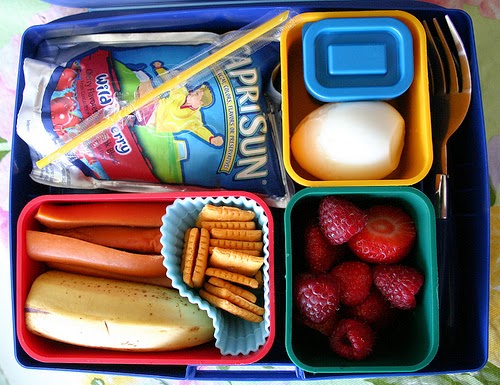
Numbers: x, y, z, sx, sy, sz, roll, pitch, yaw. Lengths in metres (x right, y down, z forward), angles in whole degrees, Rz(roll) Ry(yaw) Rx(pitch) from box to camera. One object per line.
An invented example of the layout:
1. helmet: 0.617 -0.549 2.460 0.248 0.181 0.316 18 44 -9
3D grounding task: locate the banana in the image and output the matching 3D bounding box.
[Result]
1. banana: -0.376 0.357 1.431 0.539 0.130 0.188 5 69 8

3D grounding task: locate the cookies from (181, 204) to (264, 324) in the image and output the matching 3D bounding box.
1. cookies: -0.067 0.189 1.407 0.239 0.128 0.346 6 88 -5

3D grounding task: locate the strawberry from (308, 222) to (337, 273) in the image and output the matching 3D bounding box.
1. strawberry: 0.205 0.169 1.510 0.072 0.125 0.136 0 25 2

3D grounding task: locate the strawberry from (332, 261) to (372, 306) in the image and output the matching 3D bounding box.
1. strawberry: 0.307 0.261 1.443 0.112 0.064 0.125 -4 83 6
